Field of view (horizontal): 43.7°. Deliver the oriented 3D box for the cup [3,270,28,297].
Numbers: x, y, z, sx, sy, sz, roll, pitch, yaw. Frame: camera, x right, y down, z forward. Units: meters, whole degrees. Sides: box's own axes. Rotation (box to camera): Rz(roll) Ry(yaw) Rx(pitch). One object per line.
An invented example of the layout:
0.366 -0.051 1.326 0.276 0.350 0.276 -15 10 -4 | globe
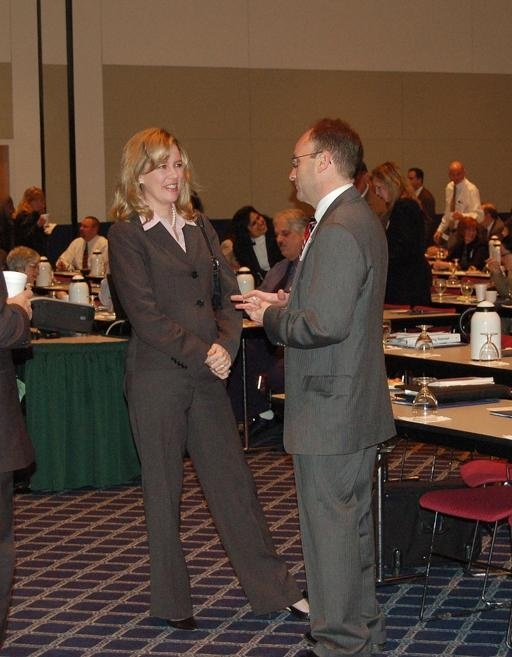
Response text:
-0.590 -0.113 1.578 0.065 0.049 0.067 0 5 0 | cup
